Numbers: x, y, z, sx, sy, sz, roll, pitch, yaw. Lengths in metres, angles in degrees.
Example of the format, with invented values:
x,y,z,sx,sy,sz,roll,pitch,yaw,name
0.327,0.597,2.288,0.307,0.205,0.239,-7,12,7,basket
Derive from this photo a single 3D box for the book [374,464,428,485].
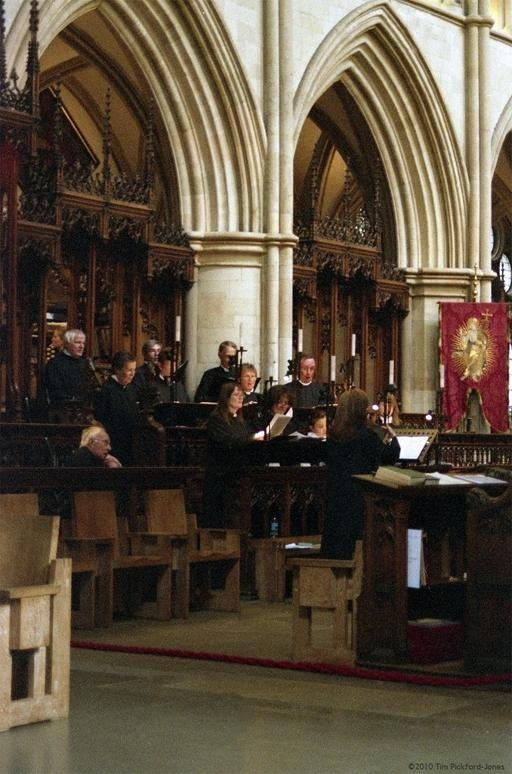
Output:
x,y,z,sx,sy,sz,roll,pitch,yaw,name
0.739,0.458,5.008,0.227,0.107,0.348,-3,-7,27,book

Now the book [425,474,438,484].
x,y,z,sx,sy,sz,roll,pitch,yaw,name
0.935,0.489,5.149,0.051,0.022,0.056,4,2,16,book
